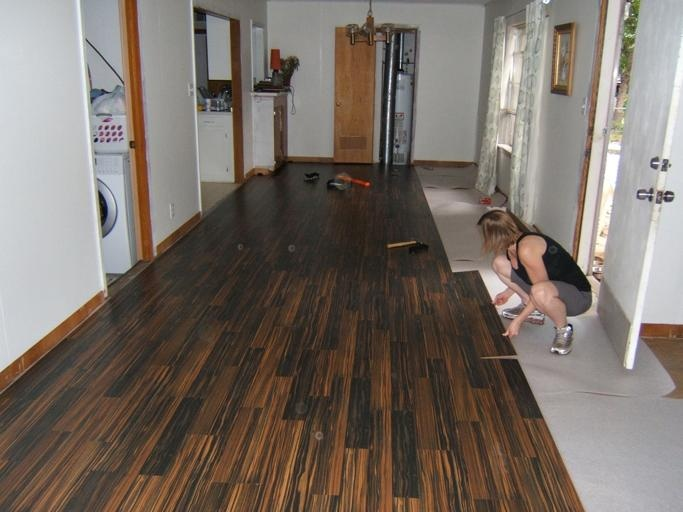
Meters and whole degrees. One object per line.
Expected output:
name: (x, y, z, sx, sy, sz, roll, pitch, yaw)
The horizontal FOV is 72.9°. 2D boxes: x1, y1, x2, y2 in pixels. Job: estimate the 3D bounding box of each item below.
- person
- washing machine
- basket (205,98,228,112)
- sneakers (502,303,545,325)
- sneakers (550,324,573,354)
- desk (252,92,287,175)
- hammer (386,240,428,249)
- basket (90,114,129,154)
person: (1.409, 0.118, 3.357, 0.660, 0.973, 0.852, -13, 13, -3)
washing machine: (-2.142, -0.400, 4.389, 0.286, 1.111, 0.329, 1, 21, 2)
basket: (-2.127, -2.605, 7.932, 0.412, 0.182, 0.281, -6, 22, -15)
sneakers: (1.402, 0.447, 3.598, 0.310, 0.169, 0.129, 5, 15, 16)
sneakers: (1.517, 0.549, 3.170, 0.093, 0.113, 0.241, -6, 31, 40)
desk: (-1.305, -2.424, 8.946, 0.419, 1.445, 1.217, 5, 22, 12)
hammer: (0.731, -0.115, 5.147, 0.258, 0.118, 0.038, 0, -2, -3)
basket: (-2.197, -1.150, 4.426, 0.335, 0.339, 0.202, -3, 9, -5)
